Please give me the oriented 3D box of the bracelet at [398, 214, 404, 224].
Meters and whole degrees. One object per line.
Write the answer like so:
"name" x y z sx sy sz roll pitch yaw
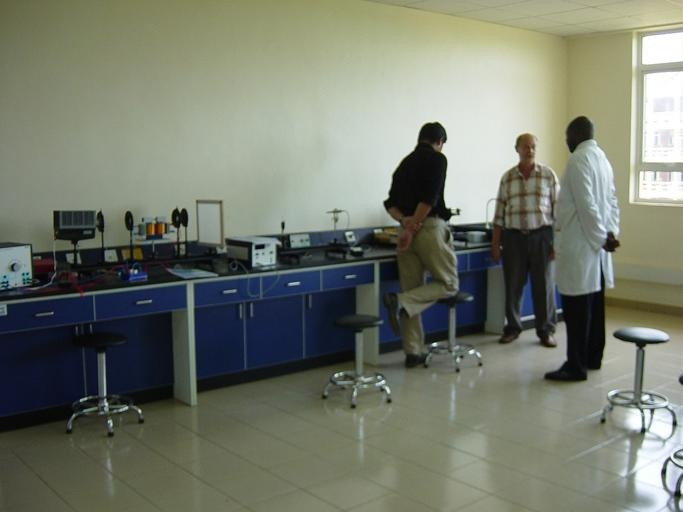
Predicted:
"bracelet" 0.544 -0.345 5.386 0.018 0.082 0.077 10 0 -38

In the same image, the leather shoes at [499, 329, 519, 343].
"leather shoes" 1.762 0.830 6.178 0.100 0.120 0.274 6 7 42

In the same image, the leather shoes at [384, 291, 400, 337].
"leather shoes" 0.432 0.500 5.191 0.157 0.377 0.124 -12 8 -1

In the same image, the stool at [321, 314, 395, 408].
"stool" 0.131 0.837 4.834 0.515 0.642 0.545 0 0 -12

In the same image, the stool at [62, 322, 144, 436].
"stool" -1.748 0.910 4.281 0.534 0.651 0.520 5 4 40

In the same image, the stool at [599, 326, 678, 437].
"stool" 2.417 1.039 4.764 0.561 0.774 0.515 -4 9 -14

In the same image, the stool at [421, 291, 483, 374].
"stool" 1.052 0.724 5.611 0.439 0.673 0.433 1 -2 -39
